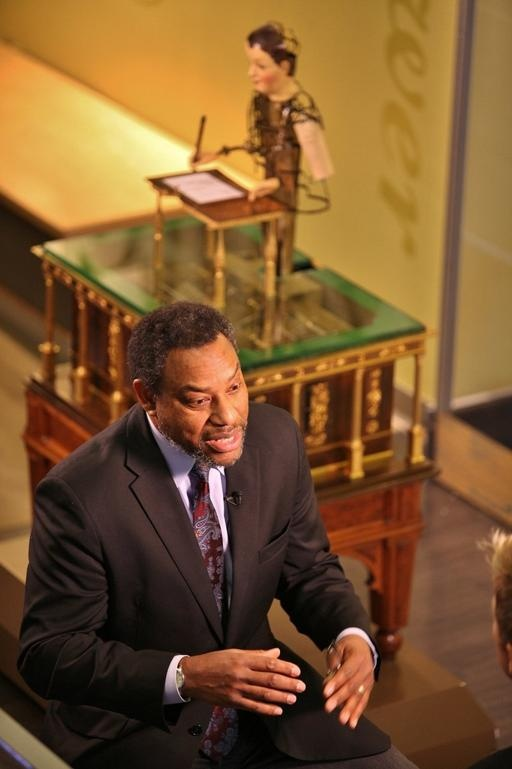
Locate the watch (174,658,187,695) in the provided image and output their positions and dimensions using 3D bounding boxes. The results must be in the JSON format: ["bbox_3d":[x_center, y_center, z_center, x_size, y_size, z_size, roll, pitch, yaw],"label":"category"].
[{"bbox_3d":[-0.107,0.409,1.112,0.014,0.048,0.040,2,7,-5],"label":"watch"}]

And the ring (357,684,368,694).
[{"bbox_3d":[0.148,0.427,1.125,0.009,0.010,0.011,3,9,-2],"label":"ring"}]
